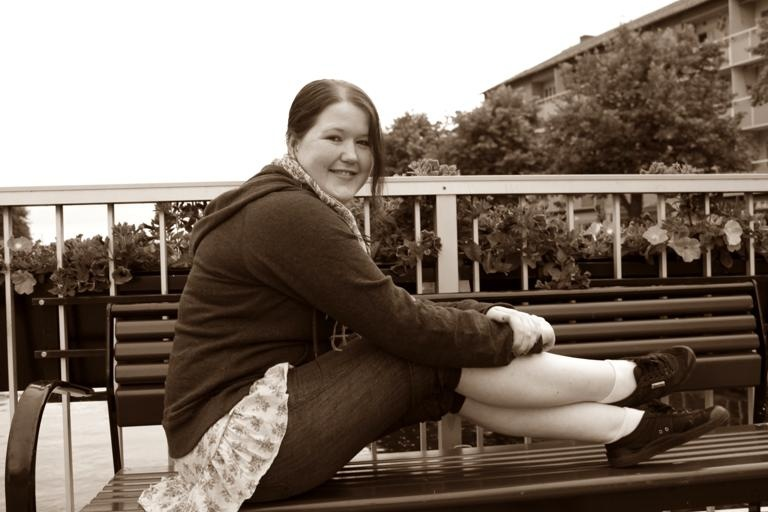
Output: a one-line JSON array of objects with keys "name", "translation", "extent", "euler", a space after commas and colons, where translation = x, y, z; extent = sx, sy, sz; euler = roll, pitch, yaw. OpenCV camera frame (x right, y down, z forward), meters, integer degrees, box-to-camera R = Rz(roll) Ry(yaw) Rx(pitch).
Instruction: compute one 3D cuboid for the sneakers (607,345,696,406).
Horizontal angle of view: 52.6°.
[{"name": "sneakers", "translation": [1.335, 0.562, 4.023], "extent": [0.212, 0.194, 0.569], "euler": [-3, 19, -31]}]
